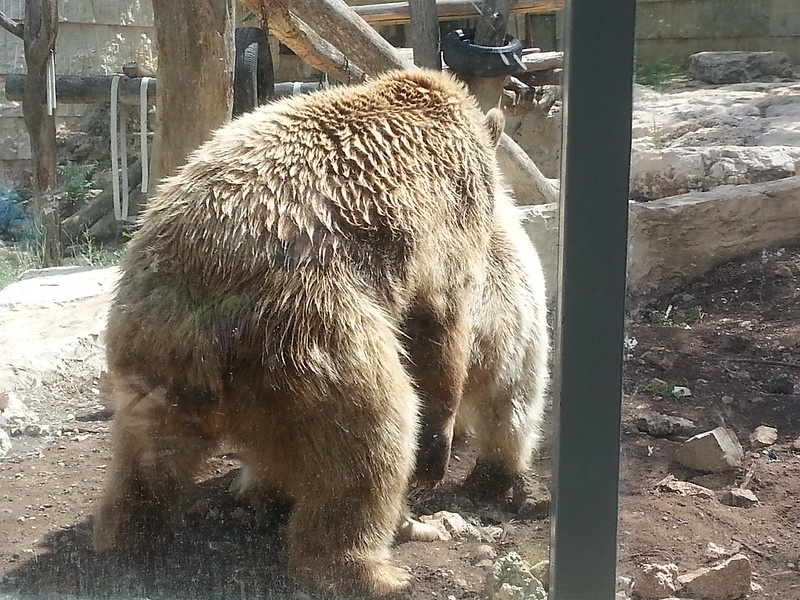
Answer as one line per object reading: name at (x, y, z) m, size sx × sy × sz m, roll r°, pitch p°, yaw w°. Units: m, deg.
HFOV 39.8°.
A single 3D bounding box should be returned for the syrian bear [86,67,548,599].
syrian bear at (-0.092, -0.050, 3.327) m, size 0.866 × 1.223 × 1.577 m, roll 10°, pitch 20°, yaw 34°
